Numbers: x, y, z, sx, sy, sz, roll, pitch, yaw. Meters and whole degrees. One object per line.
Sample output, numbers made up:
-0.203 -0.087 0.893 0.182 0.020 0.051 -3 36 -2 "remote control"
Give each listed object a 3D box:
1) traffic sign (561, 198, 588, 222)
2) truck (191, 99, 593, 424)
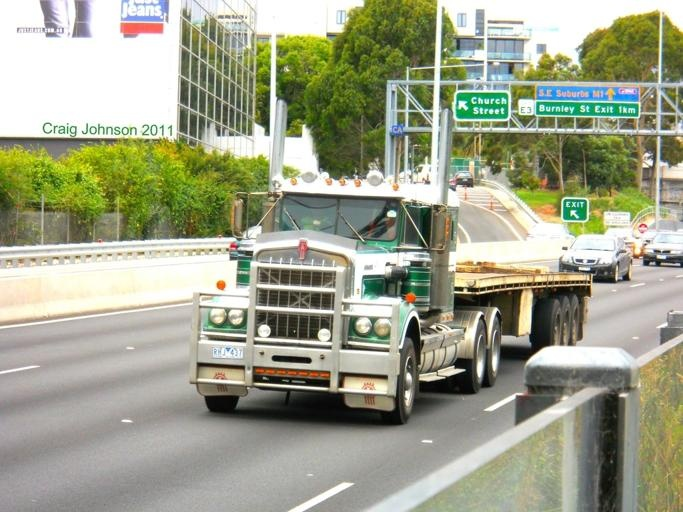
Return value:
17.530 -3.437 56.998 1.640 1.826 0.259 0 -3 16 "traffic sign"
1.327 0.438 13.983 3.043 4.567 9.613 0 -3 22 "truck"
